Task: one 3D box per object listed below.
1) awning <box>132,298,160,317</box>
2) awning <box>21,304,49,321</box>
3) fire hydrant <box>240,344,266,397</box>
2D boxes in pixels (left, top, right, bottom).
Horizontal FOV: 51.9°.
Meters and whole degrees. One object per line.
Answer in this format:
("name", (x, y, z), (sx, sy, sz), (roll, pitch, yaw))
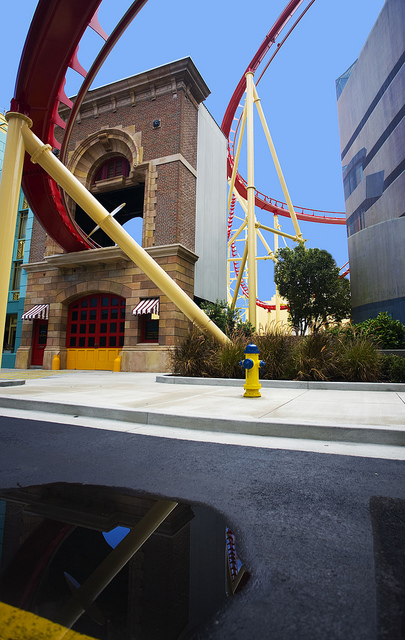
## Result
("awning", (-2.332, -0.584, 17.451), (1.064, 0.842, 0.660), (-5, -10, 26))
("awning", (-7.957, -0.343, 20.124), (1.238, 0.901, 0.705), (-3, -8, 26))
("fire hydrant", (0.796, 0.801, 6.618), (0.327, 0.844, 0.837), (-2, -9, 9))
